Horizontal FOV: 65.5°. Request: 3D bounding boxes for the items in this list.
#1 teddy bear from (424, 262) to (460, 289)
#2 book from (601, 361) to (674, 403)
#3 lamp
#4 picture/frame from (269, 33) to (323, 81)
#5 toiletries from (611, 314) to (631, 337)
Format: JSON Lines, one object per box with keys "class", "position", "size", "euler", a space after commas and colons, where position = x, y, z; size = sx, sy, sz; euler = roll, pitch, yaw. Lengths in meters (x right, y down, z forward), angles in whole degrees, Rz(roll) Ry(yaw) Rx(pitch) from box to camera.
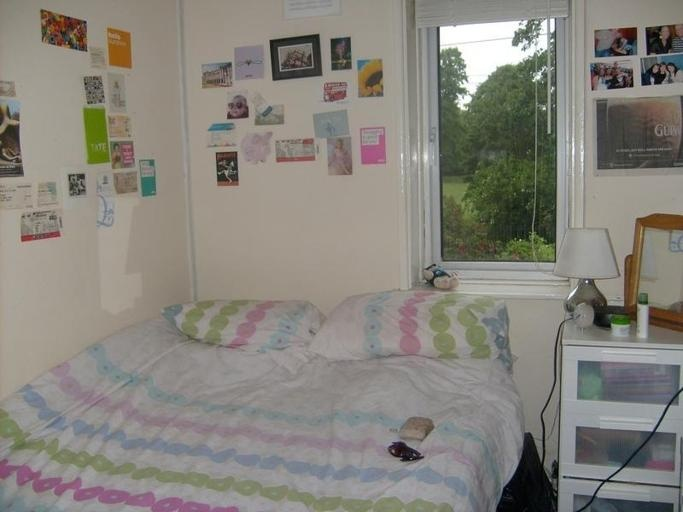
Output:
{"class": "teddy bear", "position": [0.566, 0.107, 3.078], "size": [0.107, 0.083, 0.193], "euler": [-5, 20, -14]}
{"class": "book", "position": [1.285, 0.544, 2.287], "size": [0.232, 0.127, 0.173], "euler": [1, 2, 21]}
{"class": "lamp", "position": [1.209, 0.092, 2.553], "size": [0.266, 0.419, 0.270], "euler": [-10, -8, 27]}
{"class": "picture/frame", "position": [-0.241, -1.117, 2.966], "size": [0.265, 0.226, 0.012], "euler": [-1, 8, 15]}
{"class": "toiletries", "position": [1.221, 0.307, 2.348], "size": [0.080, 0.071, 0.090], "euler": [2, -7, 5]}
